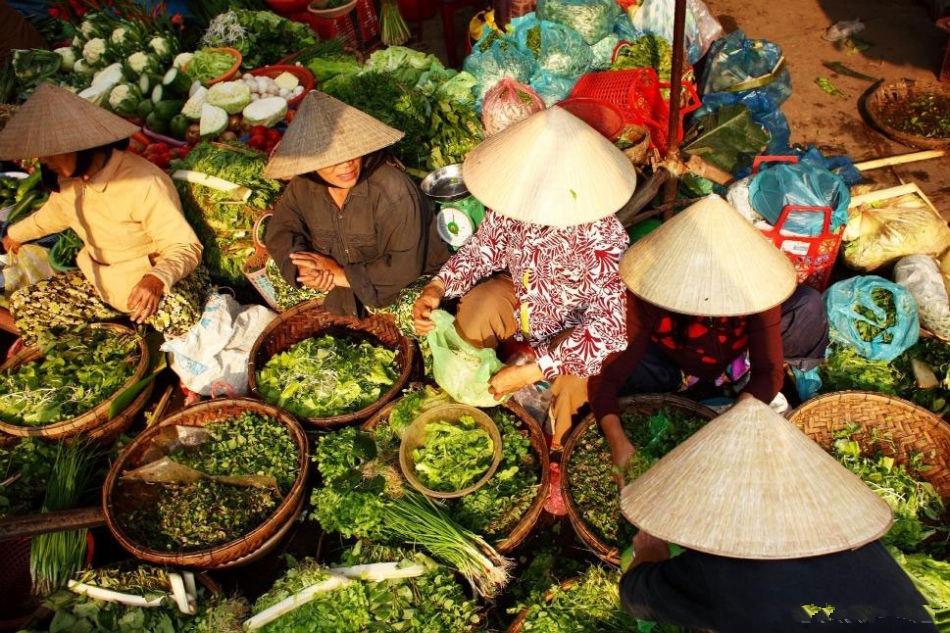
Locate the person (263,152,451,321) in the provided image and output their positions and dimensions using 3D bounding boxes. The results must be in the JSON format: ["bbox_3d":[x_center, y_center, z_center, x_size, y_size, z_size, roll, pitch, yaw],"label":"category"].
[{"bbox_3d":[-1.002,-0.758,5.708,0.922,1.779,0.875,-15,42,-15],"label":"person"}]

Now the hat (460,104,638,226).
[{"bbox_3d":[0.484,-0.919,4.478,0.867,0.368,0.901,8,51,8],"label":"hat"}]

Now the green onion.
[{"bbox_3d":[-0.238,1.597,5.049,1.227,0.297,0.430,36,83,19],"label":"green onion"}]

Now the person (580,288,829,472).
[{"bbox_3d":[1.660,0.225,5.072,1.056,1.773,0.907,-24,38,-26],"label":"person"}]

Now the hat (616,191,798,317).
[{"bbox_3d":[1.428,-0.312,4.208,0.828,0.392,0.834,-28,49,-16],"label":"hat"}]
